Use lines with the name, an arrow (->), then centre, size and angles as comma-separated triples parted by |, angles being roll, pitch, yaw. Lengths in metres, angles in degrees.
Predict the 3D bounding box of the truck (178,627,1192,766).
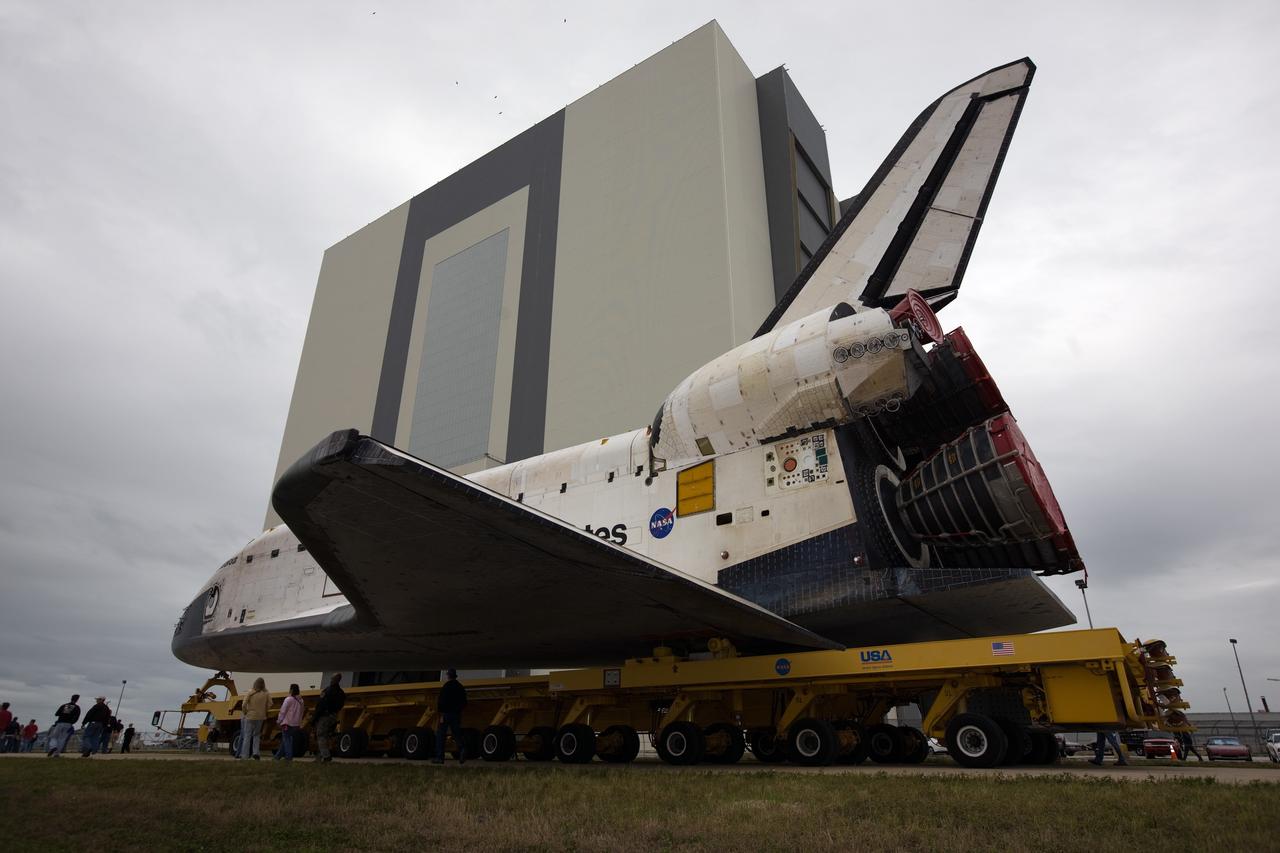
truck -> 2.198, 3.899, 11.210 | 9.056, 1.799, 1.483 | -7, -16, 21

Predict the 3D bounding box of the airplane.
airplane -> -0.843, 0.833, 12.340 | 11.722, 6.580, 10.772 | -12, -20, 35
